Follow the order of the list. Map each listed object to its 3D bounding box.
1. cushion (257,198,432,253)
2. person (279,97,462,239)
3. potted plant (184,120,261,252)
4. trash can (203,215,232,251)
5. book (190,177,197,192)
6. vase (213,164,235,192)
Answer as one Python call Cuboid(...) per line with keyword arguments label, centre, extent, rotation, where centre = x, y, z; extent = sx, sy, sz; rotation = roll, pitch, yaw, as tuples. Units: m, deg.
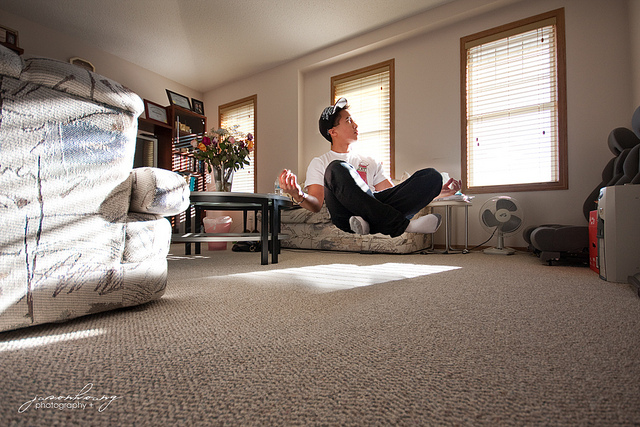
Cuboid(label="cushion", centre=(0.500, 0.059, 4.888), extent=(1.745, 0.527, 1.368), rotation=(2, 4, 21))
Cuboid(label="person", centre=(0.327, -0.337, 2.697), extent=(1.042, 0.913, 0.834), rotation=(0, 2, 4))
Cuboid(label="potted plant", centre=(-0.934, -0.259, 3.891), extent=(0.628, 1.015, 0.560), rotation=(5, -1, 14))
Cuboid(label="trash can", centre=(-1.122, 0.182, 4.804), extent=(0.419, 0.411, 0.385), rotation=(-3, 10, -32))
Cuboid(label="book", centre=(-1.268, -0.291, 4.081), extent=(0.036, 0.121, 0.141), rotation=(10, 4, -16))
Cuboid(label="vase", centre=(-0.867, -0.321, 3.690), extent=(0.189, 0.246, 0.247), rotation=(-1, 2, -14))
